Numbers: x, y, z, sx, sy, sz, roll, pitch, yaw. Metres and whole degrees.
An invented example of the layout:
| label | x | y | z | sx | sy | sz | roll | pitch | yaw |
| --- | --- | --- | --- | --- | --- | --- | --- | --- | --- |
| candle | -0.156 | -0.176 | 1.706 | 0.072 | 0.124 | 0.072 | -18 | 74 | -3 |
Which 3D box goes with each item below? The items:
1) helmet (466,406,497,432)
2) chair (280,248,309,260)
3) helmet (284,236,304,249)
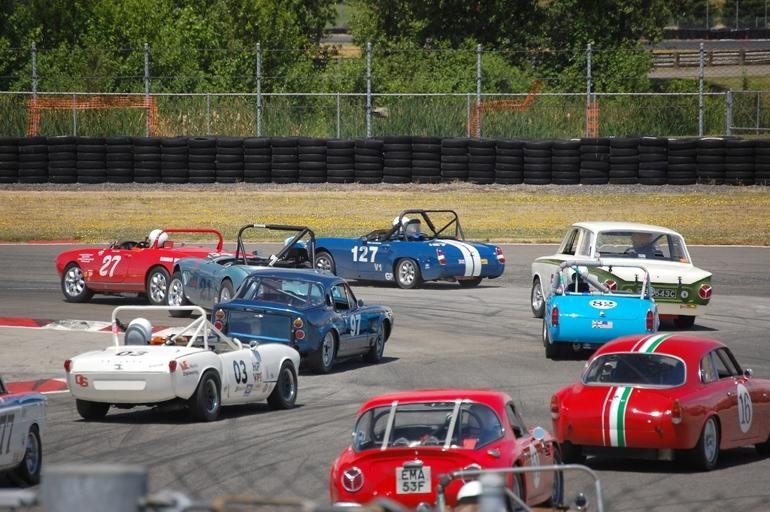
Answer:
| label | x | y | z | sx | sy | sz | roll | pitch | yaw |
| --- | --- | --- | --- | --- | --- | --- | --- | --- | --- |
| helmet | 1.386 | 2.293 | 16.168 | 0.275 | 0.410 | 0.105 | -26 | -10 | -1 |
| chair | -2.155 | -0.053 | 28.225 | 0.428 | 0.311 | 0.137 | 1 | 31 | 0 |
| helmet | -2.195 | -0.324 | 28.186 | 0.633 | 0.413 | 0.201 | 2 | -21 | -6 |
